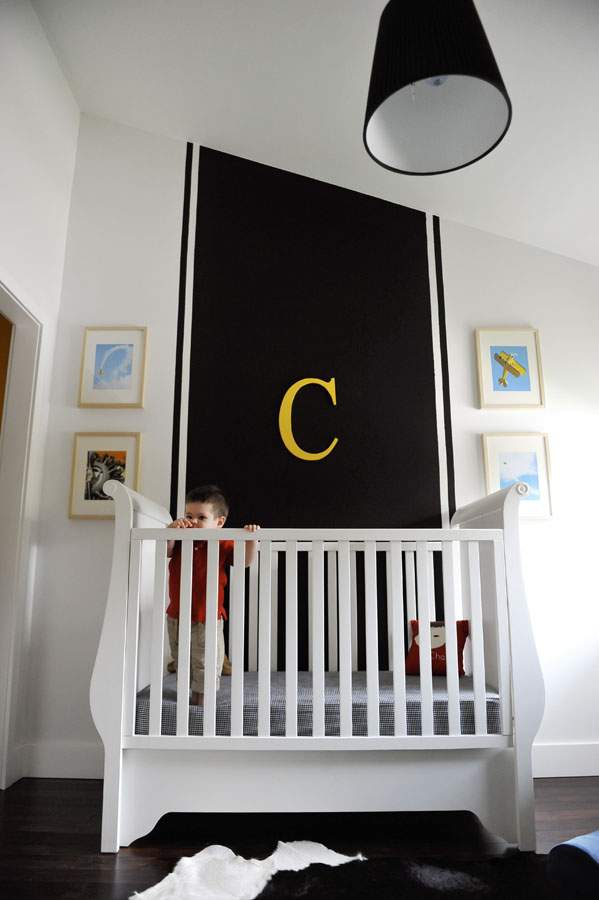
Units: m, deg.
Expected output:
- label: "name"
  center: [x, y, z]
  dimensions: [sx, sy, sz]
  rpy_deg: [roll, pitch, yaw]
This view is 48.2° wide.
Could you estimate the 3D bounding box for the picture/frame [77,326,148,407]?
- label: "picture/frame"
  center: [-0.715, -0.302, 2.539]
  dimensions: [0.246, 0.379, 0.023]
  rpy_deg: [-1, -11, 0]
